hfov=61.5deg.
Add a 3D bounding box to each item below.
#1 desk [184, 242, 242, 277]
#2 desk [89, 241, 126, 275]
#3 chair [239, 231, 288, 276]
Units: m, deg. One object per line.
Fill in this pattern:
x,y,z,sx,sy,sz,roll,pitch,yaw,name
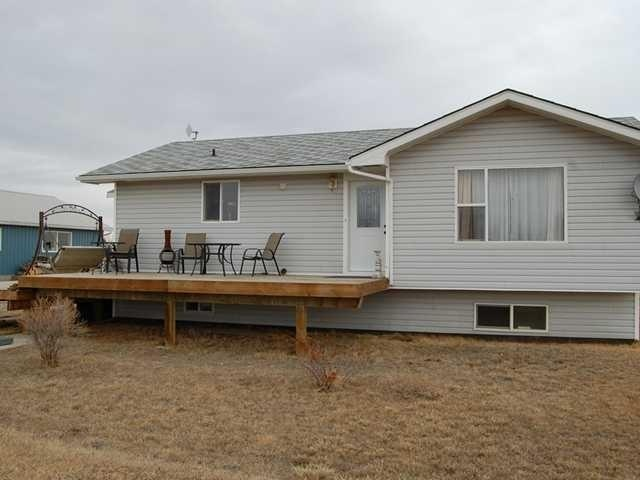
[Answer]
-2.561,0.402,13.468,0.929,0.689,1.553,-1,10,-19,desk
-5.273,0.455,13.439,0.591,0.534,0.594,19,6,36,desk
-1.320,0.319,12.681,0.868,0.737,0.649,4,17,-13,chair
